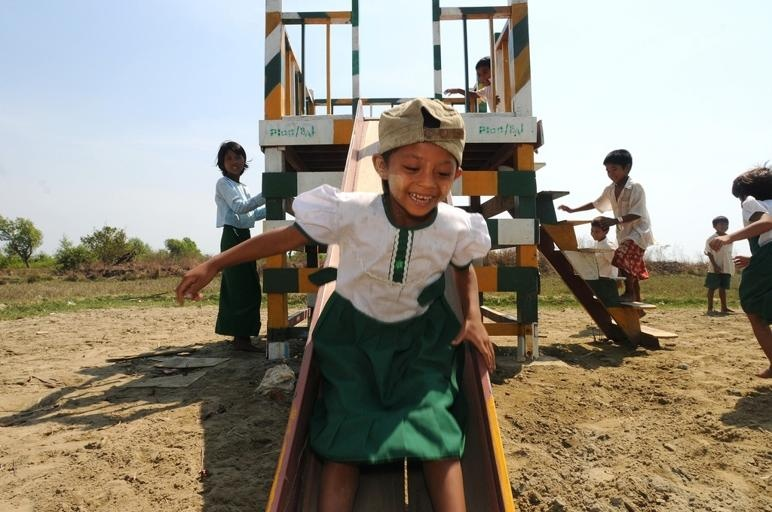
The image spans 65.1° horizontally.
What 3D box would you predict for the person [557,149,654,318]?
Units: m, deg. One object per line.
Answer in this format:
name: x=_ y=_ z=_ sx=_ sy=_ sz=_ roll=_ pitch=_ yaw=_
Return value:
person: x=3.219 y=-0.297 z=8.311 sx=0.777 sy=2.280 sz=0.953 roll=0 pitch=2 yaw=22
